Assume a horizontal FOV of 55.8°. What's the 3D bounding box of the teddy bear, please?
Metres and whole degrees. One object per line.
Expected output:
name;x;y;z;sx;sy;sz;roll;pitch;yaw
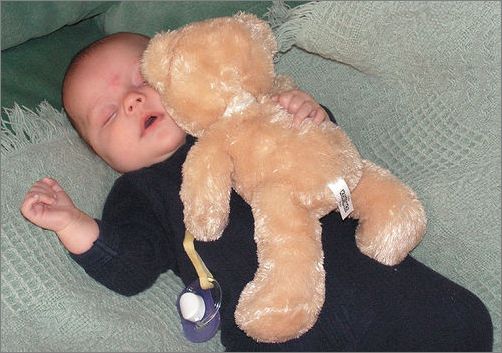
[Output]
teddy bear;-0.012;0.050;1.178;0.538;0.221;0.740;-31;80;-25

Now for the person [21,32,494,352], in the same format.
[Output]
person;-0.039;0.223;1.242;0.921;0.315;0.742;43;59;12
